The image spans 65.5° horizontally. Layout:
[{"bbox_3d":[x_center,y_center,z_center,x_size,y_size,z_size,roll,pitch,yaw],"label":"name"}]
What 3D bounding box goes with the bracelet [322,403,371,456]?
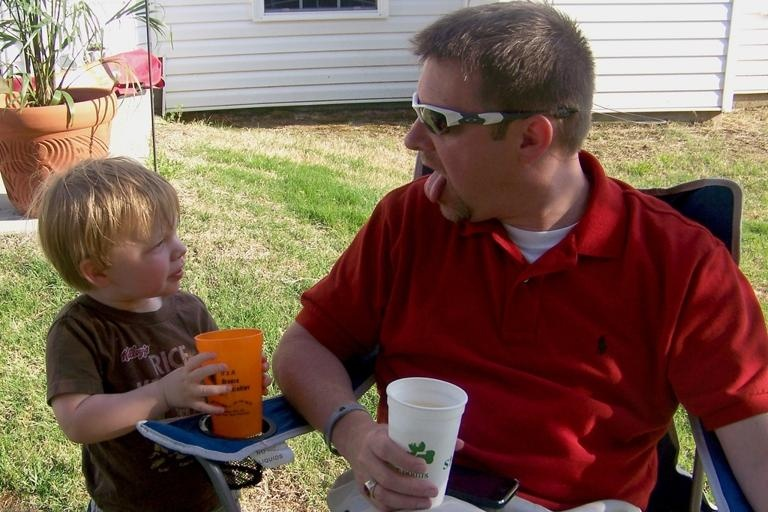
[{"bbox_3d":[-0.135,0.600,2.078,0.144,0.171,0.076,-8,19,-36],"label":"bracelet"}]
